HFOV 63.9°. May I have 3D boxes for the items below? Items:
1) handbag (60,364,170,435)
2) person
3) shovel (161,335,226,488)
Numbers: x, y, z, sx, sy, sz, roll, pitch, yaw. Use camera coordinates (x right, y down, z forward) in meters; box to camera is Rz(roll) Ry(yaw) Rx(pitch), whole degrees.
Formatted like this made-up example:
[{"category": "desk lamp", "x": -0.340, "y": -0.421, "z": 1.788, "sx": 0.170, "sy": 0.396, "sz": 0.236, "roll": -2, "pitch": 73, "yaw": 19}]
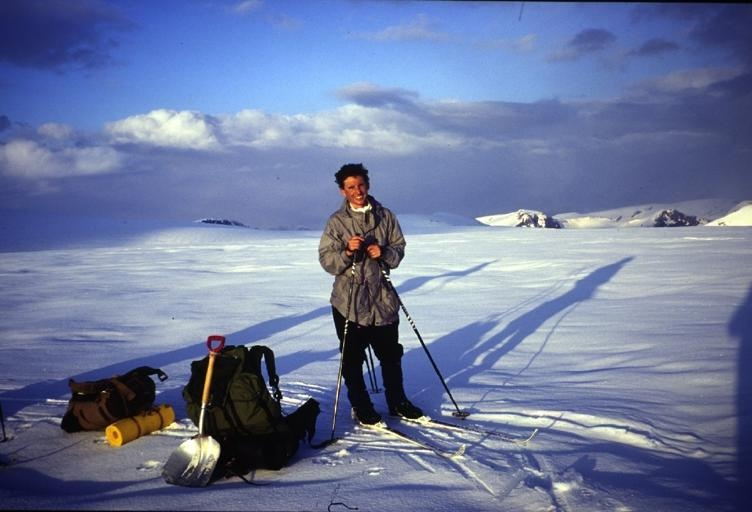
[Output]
[{"category": "handbag", "x": -3.154, "y": 1.738, "z": 7.253, "sx": 1.021, "sy": 0.402, "sz": 0.913, "roll": -11, "pitch": -23, "yaw": -17}, {"category": "person", "x": -0.118, "y": 0.463, "z": 7.511, "sx": 1.156, "sy": 3.185, "sz": 0.749, "roll": 0, "pitch": 7, "yaw": 3}, {"category": "shovel", "x": -1.952, "y": 1.664, "z": 6.615, "sx": 0.789, "sy": 1.544, "sz": 0.596, "roll": -5, "pitch": 8, "yaw": -36}]
